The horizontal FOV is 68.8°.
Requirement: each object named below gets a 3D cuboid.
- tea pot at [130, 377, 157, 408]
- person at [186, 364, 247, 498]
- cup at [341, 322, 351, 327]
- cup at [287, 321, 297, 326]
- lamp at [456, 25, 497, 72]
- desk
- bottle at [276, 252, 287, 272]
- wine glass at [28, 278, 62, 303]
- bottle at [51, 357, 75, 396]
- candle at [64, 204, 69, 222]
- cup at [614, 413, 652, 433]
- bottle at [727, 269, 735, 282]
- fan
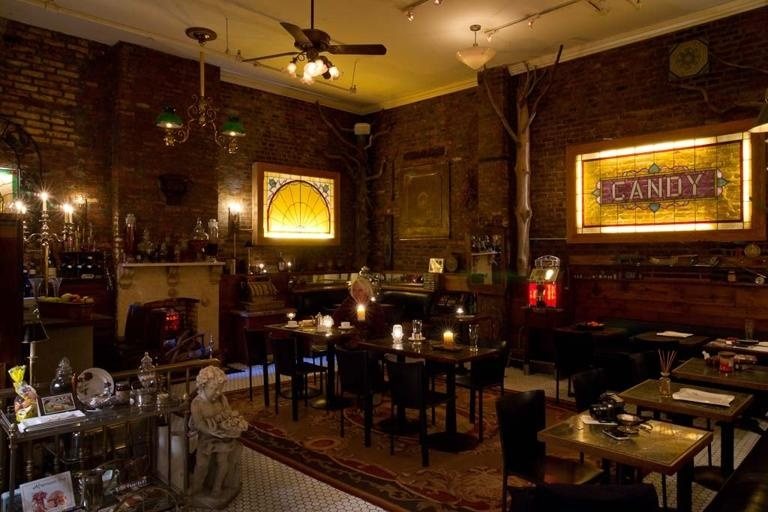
[{"bbox_3d":[-2.315,1.336,5.437,0.186,0.275,0.303,-1,-3,23],"label":"tea pot"},{"bbox_3d":[-1.713,1.822,5.720,0.577,1.435,0.316,-3,1,-20],"label":"person"},{"bbox_3d":[-0.552,0.979,8.005,0.094,0.050,0.091,-1,-3,0],"label":"cup"},{"bbox_3d":[-1.333,0.977,8.167,0.084,0.045,0.081,-1,-5,0],"label":"cup"},{"bbox_3d":[1.398,-3.193,8.529,0.649,0.679,0.601,-1,5,-11],"label":"lamp"},{"bbox_3d":[-2.760,1.863,5.336,0.572,1.036,1.488,-4,-4,44],"label":"desk"},{"bbox_3d":[-2.034,0.089,11.186,0.151,0.364,0.272,-3,1,5],"label":"bottle"},{"bbox_3d":[-4.918,0.487,8.121,0.397,0.324,0.311,0,-8,-5],"label":"wine glass"},{"bbox_3d":[-3.087,1.153,5.459,0.249,0.326,0.236,2,9,0],"label":"bottle"},{"bbox_3d":[-4.931,-0.696,8.741,0.077,0.299,0.259,-4,1,-30],"label":"candle"},{"bbox_3d":[2.232,1.482,5.005,0.282,0.095,0.159,1,-3,-38],"label":"cup"},{"bbox_3d":[5.073,0.275,8.164,0.108,0.184,0.090,-3,1,25],"label":"bottle"},{"bbox_3d":[-1.065,-3.341,8.390,1.577,1.174,1.471,4,7,11],"label":"fan"}]
